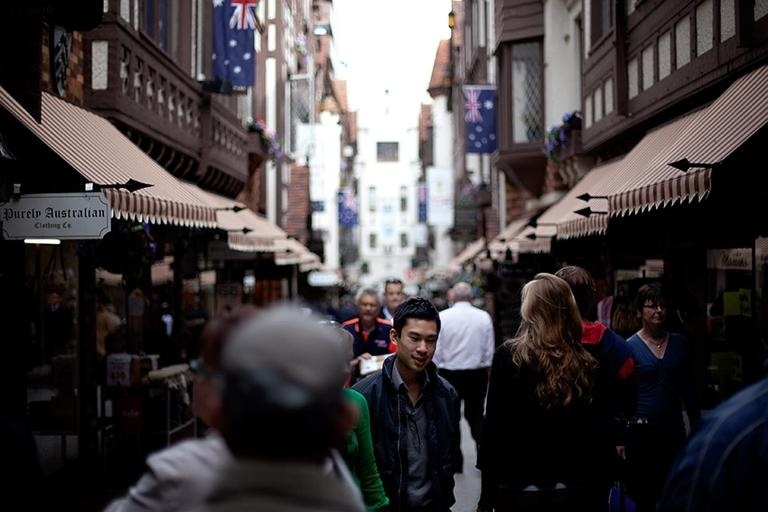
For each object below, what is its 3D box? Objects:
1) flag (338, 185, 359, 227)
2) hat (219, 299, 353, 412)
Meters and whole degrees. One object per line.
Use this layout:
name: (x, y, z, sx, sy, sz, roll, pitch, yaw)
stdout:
flag: (-1.985, -2.622, 56.109, 0.883, 2.354, 2.422, -1, -8, -5)
hat: (-0.829, 0.826, 8.512, 0.997, 0.864, 0.245, -1, -7, -15)
